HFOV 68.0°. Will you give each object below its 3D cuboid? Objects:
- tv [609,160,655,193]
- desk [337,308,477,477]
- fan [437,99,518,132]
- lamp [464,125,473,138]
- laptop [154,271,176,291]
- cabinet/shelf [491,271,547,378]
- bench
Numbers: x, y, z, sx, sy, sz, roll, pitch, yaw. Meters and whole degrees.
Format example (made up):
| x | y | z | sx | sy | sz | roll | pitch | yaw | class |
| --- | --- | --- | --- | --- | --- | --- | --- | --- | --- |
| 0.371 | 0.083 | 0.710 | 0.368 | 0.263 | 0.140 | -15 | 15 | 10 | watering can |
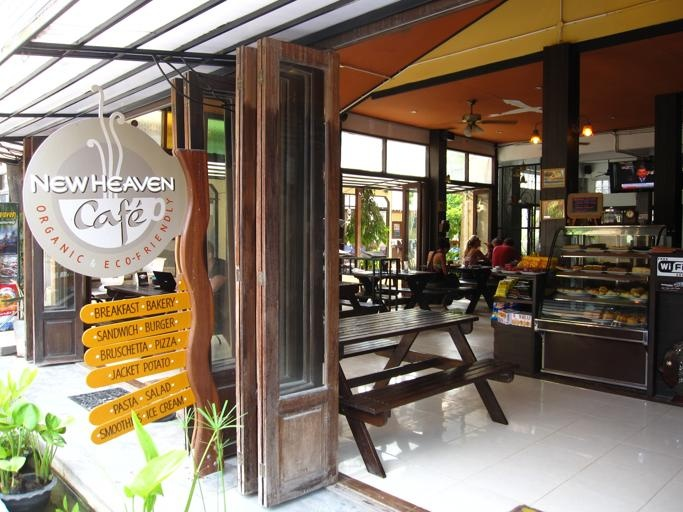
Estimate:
| x | y | z | sx | sy | sz | roll | pitch | yaw | class |
| --- | --- | --- | --- | --- | --- | --- | --- | --- | --- |
| 6.971 | -1.893 | 12.082 | 0.131 | 0.894 | 1.197 | -6 | 9 | -41 | tv |
| 0.456 | 1.103 | 4.469 | 1.136 | 0.568 | 1.102 | -6 | 9 | -36 | desk |
| 2.663 | -2.614 | 9.775 | 1.006 | 0.437 | 1.072 | -9 | 12 | -38 | fan |
| 2.385 | -2.300 | 9.320 | 0.069 | 0.233 | 0.229 | 2 | 6 | -11 | lamp |
| -2.233 | 0.317 | 6.389 | 0.154 | 0.201 | 0.232 | 9 | -40 | -34 | laptop |
| 2.305 | 0.815 | 6.517 | 0.638 | 1.201 | 0.653 | 3 | 5 | 39 | cabinet/shelf |
| 0.405 | 1.305 | 4.118 | 1.242 | 0.491 | 0.844 | -4 | 6 | -44 | bench |
